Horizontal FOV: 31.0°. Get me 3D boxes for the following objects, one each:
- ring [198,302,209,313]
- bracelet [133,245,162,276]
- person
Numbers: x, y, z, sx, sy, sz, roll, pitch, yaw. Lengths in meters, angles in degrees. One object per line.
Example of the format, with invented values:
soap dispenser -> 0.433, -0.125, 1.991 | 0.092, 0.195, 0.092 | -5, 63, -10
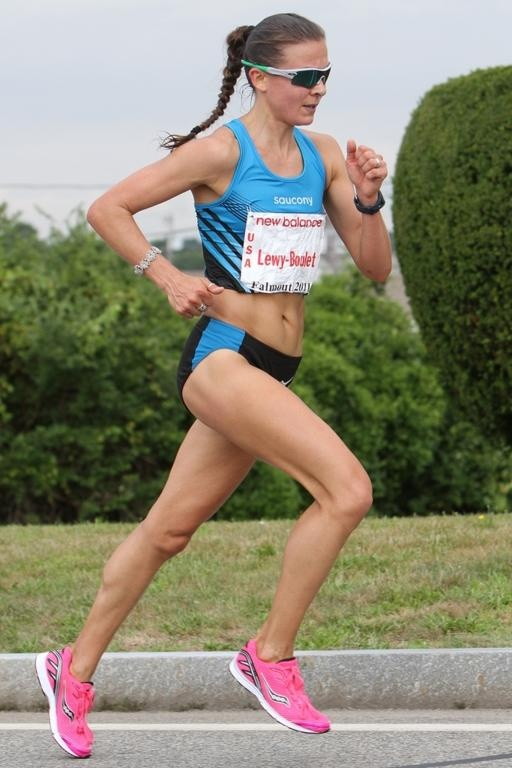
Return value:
ring -> -0.137, -0.202, 2.432 | 0.017, 0.019, 0.022 | 7, -6, -33
bracelet -> -0.298, -0.331, 2.540 | 0.034, 0.083, 0.072 | 46, -26, -1
person -> -0.083, 0.038, 2.663 | 0.892, 1.465, 0.601 | 6, 3, 7
